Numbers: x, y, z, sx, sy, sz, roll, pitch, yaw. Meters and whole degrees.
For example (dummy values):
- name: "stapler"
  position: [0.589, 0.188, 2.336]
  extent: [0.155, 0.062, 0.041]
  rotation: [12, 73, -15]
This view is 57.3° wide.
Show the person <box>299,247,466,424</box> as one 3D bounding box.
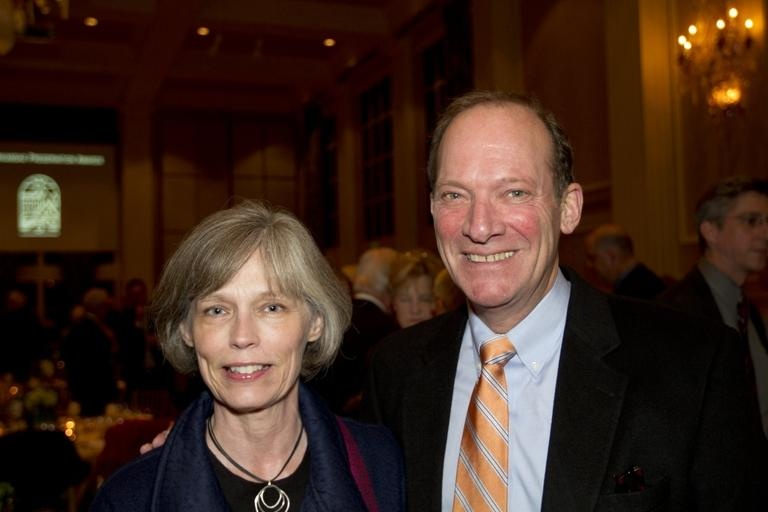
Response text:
- name: "person"
  position: [-0.002, 0.424, 3.590]
  extent: [0.318, 0.304, 0.972]
  rotation: [18, 24, -2]

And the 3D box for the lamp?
- name: "lamp"
  position: [1.797, -1.078, 3.786]
  extent: [0.121, 0.535, 0.366]
  rotation: [-9, 1, -29]

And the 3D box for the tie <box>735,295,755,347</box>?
- name: "tie"
  position: [1.658, 0.285, 3.256]
  extent: [0.059, 0.178, 0.130]
  rotation: [-1, -4, 0]
